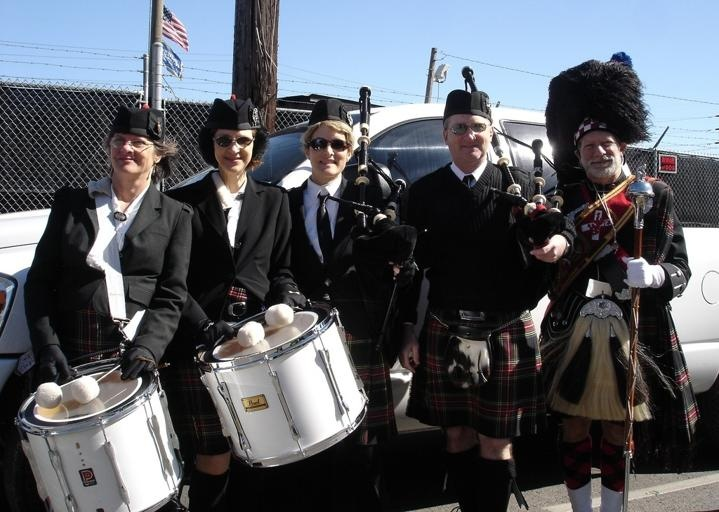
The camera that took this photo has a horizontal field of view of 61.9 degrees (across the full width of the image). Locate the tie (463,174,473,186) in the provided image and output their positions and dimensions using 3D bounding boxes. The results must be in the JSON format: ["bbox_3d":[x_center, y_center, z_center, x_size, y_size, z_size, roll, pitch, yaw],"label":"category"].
[{"bbox_3d":[0.591,-0.411,3.240,0.044,0.058,0.050,-2,42,-2],"label":"tie"}]

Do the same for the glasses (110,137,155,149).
[{"bbox_3d":[-1.160,-0.569,3.032,0.093,0.030,0.097,1,-8,-6],"label":"glasses"}]

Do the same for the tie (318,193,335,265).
[{"bbox_3d":[-0.182,-0.142,3.280,0.105,0.353,0.050,-7,-14,2],"label":"tie"}]

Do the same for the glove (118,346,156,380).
[{"bbox_3d":[-1.026,0.478,2.734,0.133,0.138,0.058,13,-21,22],"label":"glove"}]

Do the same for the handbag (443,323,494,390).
[{"bbox_3d":[0.584,0.514,3.145,0.326,0.457,0.135,1,-9,11],"label":"handbag"}]

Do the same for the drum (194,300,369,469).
[{"bbox_3d":[-0.355,0.602,3.060,0.758,0.577,0.767,-23,0,0],"label":"drum"}]

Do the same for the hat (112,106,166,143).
[{"bbox_3d":[-1.131,-0.688,3.088,0.170,0.116,0.234,6,0,-2],"label":"hat"}]

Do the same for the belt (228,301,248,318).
[{"bbox_3d":[-0.634,0.274,3.081,0.090,0.072,0.039,-3,6,-13],"label":"belt"}]

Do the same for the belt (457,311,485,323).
[{"bbox_3d":[0.601,0.315,3.173,0.139,0.059,0.031,0,12,13],"label":"belt"}]
